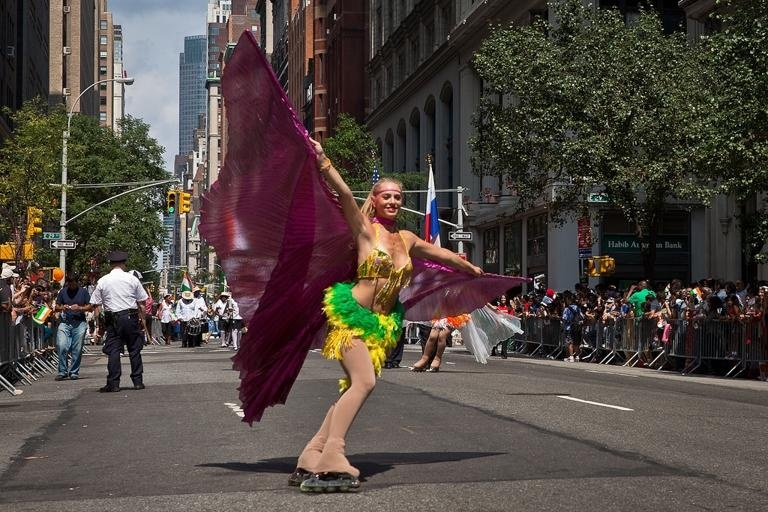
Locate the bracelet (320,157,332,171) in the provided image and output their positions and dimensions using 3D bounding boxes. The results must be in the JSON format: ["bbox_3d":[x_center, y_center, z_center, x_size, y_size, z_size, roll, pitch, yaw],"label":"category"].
[{"bbox_3d":[-0.643,-1.005,11.884,0.123,0.140,0.202,2,0,-4],"label":"bracelet"}]

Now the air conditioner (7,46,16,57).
[{"bbox_3d":[-19.106,-10.443,54.971,0.320,0.562,1.206,2,0,-14],"label":"air conditioner"}]

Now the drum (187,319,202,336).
[{"bbox_3d":[-6.972,2.557,39.489,0.446,0.569,0.731,2,0,-10],"label":"drum"}]

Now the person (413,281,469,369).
[{"bbox_3d":[1.234,1.779,24.105,0.525,1.709,1.418,17,3,22],"label":"person"}]

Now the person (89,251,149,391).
[{"bbox_3d":[-4.865,1.149,19.758,1.040,2.459,0.844,0,2,-16],"label":"person"}]
